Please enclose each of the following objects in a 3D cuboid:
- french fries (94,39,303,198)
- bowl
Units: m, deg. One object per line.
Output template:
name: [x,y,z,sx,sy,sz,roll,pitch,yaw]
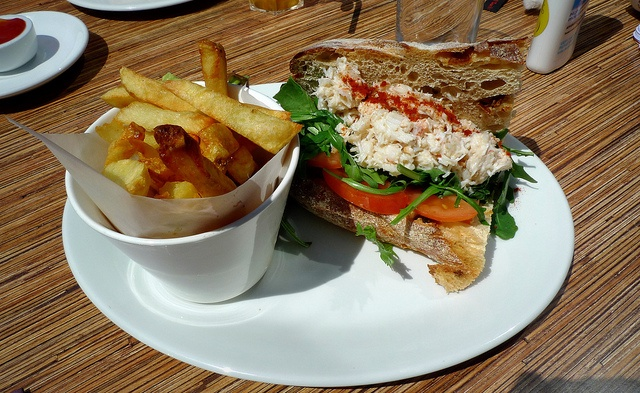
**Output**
french fries: [-0.533,-0.304,2.247,1.030,0.661,0.672,5,34,1]
bowl: [-0.556,0.016,2.185,0.948,0.652,0.905,0,52,0]
